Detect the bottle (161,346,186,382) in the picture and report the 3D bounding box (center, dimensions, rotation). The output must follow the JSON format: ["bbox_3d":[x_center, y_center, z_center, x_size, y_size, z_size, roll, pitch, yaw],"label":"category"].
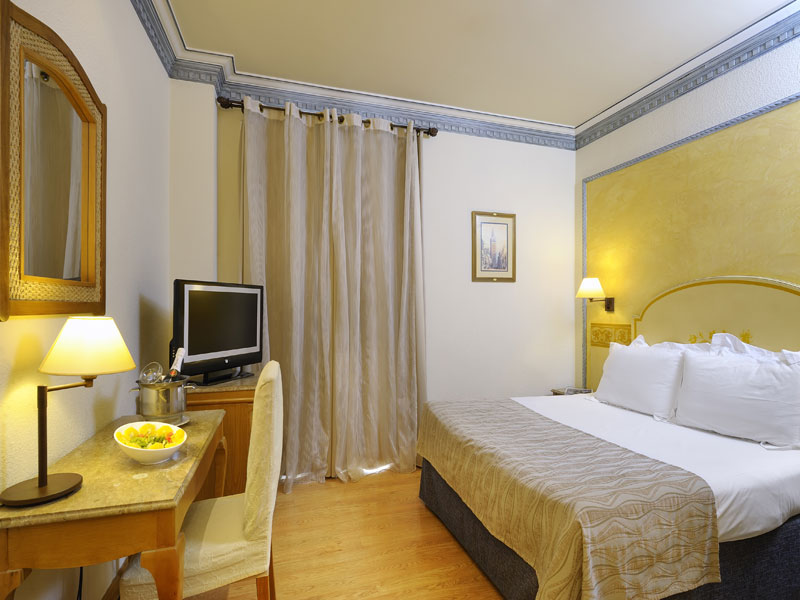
[{"bbox_3d":[-1.442,0.407,3.768,0.050,0.197,0.076,5,-31,3],"label":"bottle"}]

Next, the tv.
[{"bbox_3d":[-1.314,0.225,4.129,0.151,0.631,0.677,-1,-3,24],"label":"tv"}]

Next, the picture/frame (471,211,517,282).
[{"bbox_3d":[0.842,-0.499,5.523,0.550,0.854,0.076,2,-3,-27],"label":"picture/frame"}]

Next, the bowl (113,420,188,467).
[{"bbox_3d":[-1.263,0.695,2.983,0.224,0.104,0.239,3,2,0],"label":"bowl"}]

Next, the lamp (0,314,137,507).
[{"bbox_3d":[-1.597,0.492,3.040,0.727,1.182,0.532,-1,4,-36],"label":"lamp"}]

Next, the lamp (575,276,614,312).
[{"bbox_3d":[1.722,-0.038,5.406,0.300,0.342,0.269,4,-8,-16],"label":"lamp"}]
